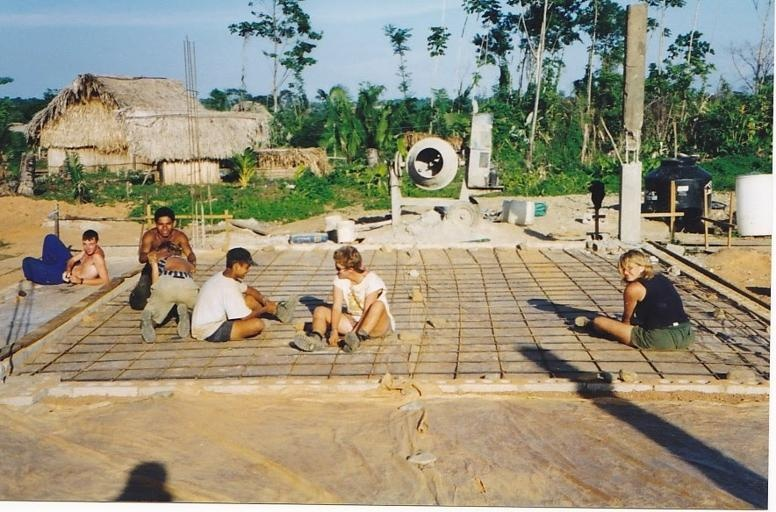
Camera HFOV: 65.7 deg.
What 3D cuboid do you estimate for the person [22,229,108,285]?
[{"bbox_3d":[-5.016,0.024,9.510,1.276,0.804,0.775,12,26,-3],"label":"person"}]

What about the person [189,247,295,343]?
[{"bbox_3d":[-1.754,0.529,7.639,1.526,1.128,0.930,-1,12,-31],"label":"person"}]

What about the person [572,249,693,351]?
[{"bbox_3d":[2.994,0.465,7.275,1.098,1.110,1.275,-17,15,-41],"label":"person"}]

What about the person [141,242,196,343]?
[{"bbox_3d":[-2.824,0.371,7.840,0.604,0.622,1.397,1,30,-15],"label":"person"}]

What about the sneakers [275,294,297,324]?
[{"bbox_3d":[-1.331,0.670,7.845,0.232,0.471,0.168,20,21,-10],"label":"sneakers"}]

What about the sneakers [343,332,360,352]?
[{"bbox_3d":[-0.455,1.006,7.050,0.159,0.206,0.244,-6,35,0],"label":"sneakers"}]

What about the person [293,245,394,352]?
[{"bbox_3d":[-0.494,0.480,7.260,1.122,1.225,0.724,-1,10,2],"label":"person"}]

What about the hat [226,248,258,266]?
[{"bbox_3d":[-1.834,-0.002,7.405,0.285,0.224,0.481,-4,10,-16],"label":"hat"}]

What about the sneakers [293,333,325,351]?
[{"bbox_3d":[-0.946,1.021,7.132,0.391,0.163,0.177,2,5,-7],"label":"sneakers"}]

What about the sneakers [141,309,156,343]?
[{"bbox_3d":[-2.946,0.872,7.451,0.189,0.389,0.161,-6,-6,-16],"label":"sneakers"}]

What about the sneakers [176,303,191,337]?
[{"bbox_3d":[-2.527,0.790,7.478,0.183,0.380,0.167,-4,12,-15],"label":"sneakers"}]

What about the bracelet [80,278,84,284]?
[{"bbox_3d":[-4.775,0.389,9.367,0.071,0.064,0.018,-2,1,1],"label":"bracelet"}]
